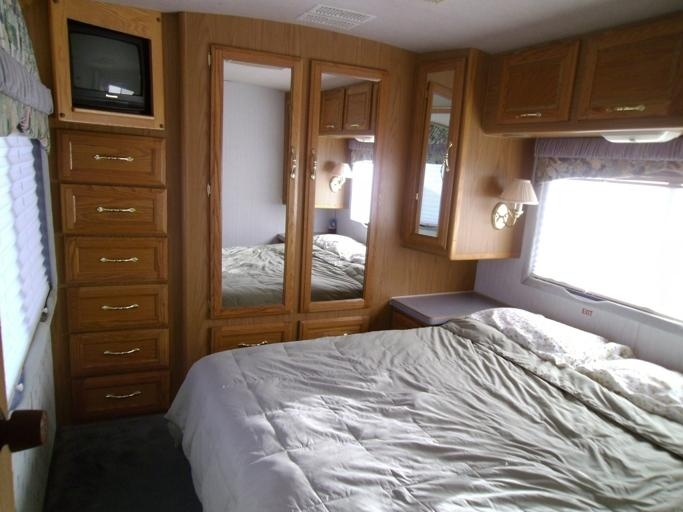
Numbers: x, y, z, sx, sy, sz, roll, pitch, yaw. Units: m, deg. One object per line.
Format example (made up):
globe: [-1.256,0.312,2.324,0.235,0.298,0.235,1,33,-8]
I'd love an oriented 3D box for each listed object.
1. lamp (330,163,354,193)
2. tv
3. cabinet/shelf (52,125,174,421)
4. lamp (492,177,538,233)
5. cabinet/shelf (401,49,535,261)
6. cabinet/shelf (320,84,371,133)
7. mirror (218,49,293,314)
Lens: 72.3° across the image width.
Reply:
lamp: [-0.007,-0.574,3.436,0.154,0.197,0.138,-14,34,-31]
tv: [-1.411,-1.180,2.997,0.570,0.477,0.305,10,24,0]
cabinet/shelf: [-1.542,0.155,3.350,0.726,1.935,0.600,0,8,-15]
lamp: [1.261,-0.346,3.366,0.272,0.343,0.325,4,3,-33]
cabinet/shelf: [0.990,-0.685,3.629,0.915,1.358,0.800,5,10,-1]
cabinet/shelf: [0.060,-1.035,3.434,0.451,0.340,0.167,4,2,33]
mirror: [-0.596,-0.443,3.256,0.686,1.830,0.080,3,15,-3]
